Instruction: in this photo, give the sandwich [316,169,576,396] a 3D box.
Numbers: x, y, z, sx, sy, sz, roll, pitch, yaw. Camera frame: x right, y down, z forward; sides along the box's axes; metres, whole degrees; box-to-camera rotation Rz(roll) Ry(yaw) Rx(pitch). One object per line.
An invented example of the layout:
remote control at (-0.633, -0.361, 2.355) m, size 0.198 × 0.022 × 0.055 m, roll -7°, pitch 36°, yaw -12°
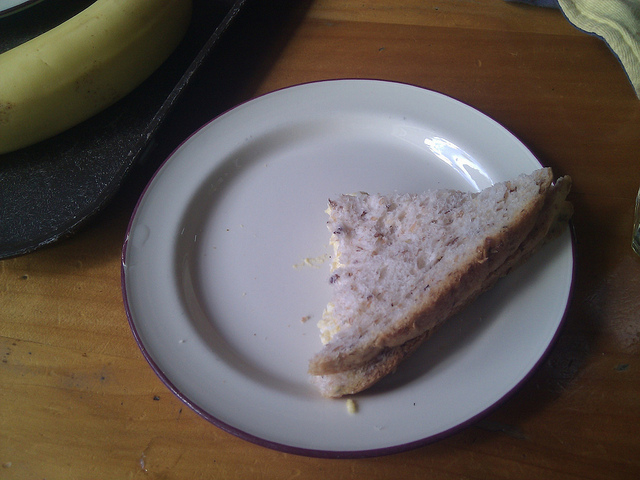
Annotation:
sandwich at (0.313, 0.110, 1.652) m, size 0.606 × 0.135 × 0.408 m, roll -34°, pitch 53°, yaw 9°
